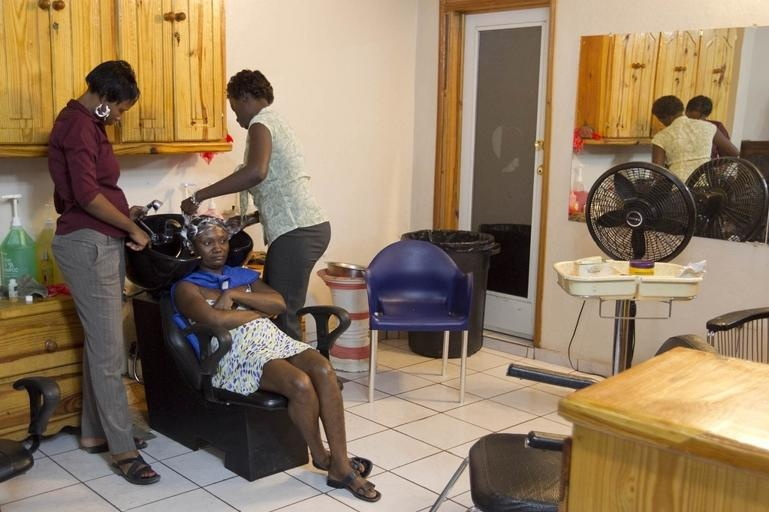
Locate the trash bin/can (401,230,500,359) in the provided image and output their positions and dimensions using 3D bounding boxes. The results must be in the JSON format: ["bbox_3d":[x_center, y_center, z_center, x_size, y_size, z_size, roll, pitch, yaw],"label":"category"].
[{"bbox_3d":[0.631,0.291,4.872,0.920,1.045,0.946,1,2,4],"label":"trash bin/can"}]

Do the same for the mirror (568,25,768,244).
[{"bbox_3d":[1.843,-0.788,3.765,1.524,1.514,0.107,3,7,31],"label":"mirror"}]

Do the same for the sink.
[{"bbox_3d":[-1.029,0.011,3.137,0.540,0.225,0.452,5,33,-18],"label":"sink"}]

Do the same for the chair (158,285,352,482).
[{"bbox_3d":[-0.720,0.614,3.278,0.894,1.032,0.899,5,9,44],"label":"chair"}]

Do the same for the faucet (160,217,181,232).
[{"bbox_3d":[-1.196,-0.184,3.393,0.104,0.085,0.080,8,10,23],"label":"faucet"}]

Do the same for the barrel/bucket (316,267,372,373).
[{"bbox_3d":[-0.262,0.491,4.512,0.536,0.690,0.575,-2,-1,0],"label":"barrel/bucket"}]

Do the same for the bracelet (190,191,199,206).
[{"bbox_3d":[-0.982,-0.304,3.147,0.035,0.050,0.059,-17,1,2],"label":"bracelet"}]

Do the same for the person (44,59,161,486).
[{"bbox_3d":[-1.355,0.080,3.011,0.407,2.051,0.612,-12,19,-42],"label":"person"}]

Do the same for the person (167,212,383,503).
[{"bbox_3d":[-0.534,0.490,2.980,1.045,1.296,0.470,8,16,26],"label":"person"}]

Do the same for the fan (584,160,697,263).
[{"bbox_3d":[1.410,-0.193,3.401,0.541,0.545,0.306,11,-9,8],"label":"fan"}]

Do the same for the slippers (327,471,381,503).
[{"bbox_3d":[-0.153,1.115,2.940,0.234,0.077,0.121,9,16,20],"label":"slippers"}]

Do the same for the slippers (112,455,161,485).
[{"bbox_3d":[-1.248,1.082,3.012,0.240,0.092,0.110,17,19,30],"label":"slippers"}]

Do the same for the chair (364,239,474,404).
[{"bbox_3d":[0.206,0.417,3.941,0.713,0.967,0.750,2,3,5],"label":"chair"}]
